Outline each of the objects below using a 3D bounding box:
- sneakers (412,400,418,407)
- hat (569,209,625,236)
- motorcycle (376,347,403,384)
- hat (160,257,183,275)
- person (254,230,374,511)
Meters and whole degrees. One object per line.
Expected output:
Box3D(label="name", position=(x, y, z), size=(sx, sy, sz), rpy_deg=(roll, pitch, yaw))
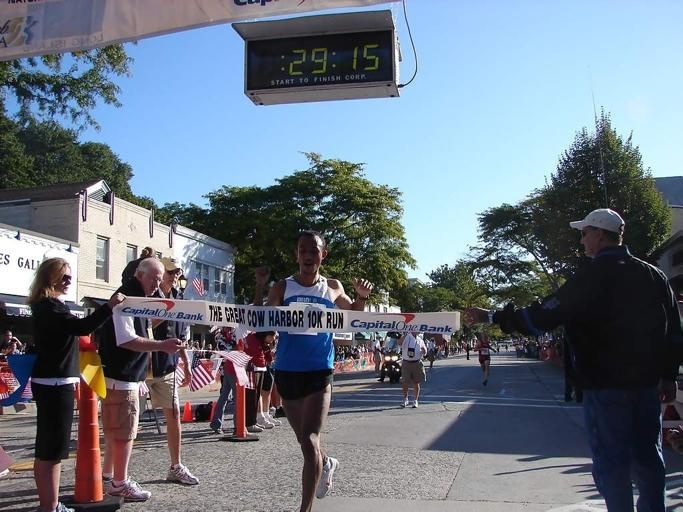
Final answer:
Box3D(label="sneakers", position=(1.818, 3.655, 14.928), size=(0.099, 0.145, 0.320), rpy_deg=(-2, -16, 6))
Box3D(label="hat", position=(2.241, -0.285, 5.283), size=(0.375, 0.220, 0.261), rpy_deg=(11, 3, 25))
Box3D(label="motorcycle", position=(2.113, 4.788, 26.107), size=(0.774, 1.030, 1.691), rpy_deg=(-2, -12, 13))
Box3D(label="hat", position=(-2.153, 0.131, 7.691), size=(0.185, 0.146, 0.246), rpy_deg=(5, -5, -41))
Box3D(label="person", position=(-0.296, 1.116, 5.722), size=(1.092, 2.741, 1.032), rpy_deg=(1, -6, 2))
